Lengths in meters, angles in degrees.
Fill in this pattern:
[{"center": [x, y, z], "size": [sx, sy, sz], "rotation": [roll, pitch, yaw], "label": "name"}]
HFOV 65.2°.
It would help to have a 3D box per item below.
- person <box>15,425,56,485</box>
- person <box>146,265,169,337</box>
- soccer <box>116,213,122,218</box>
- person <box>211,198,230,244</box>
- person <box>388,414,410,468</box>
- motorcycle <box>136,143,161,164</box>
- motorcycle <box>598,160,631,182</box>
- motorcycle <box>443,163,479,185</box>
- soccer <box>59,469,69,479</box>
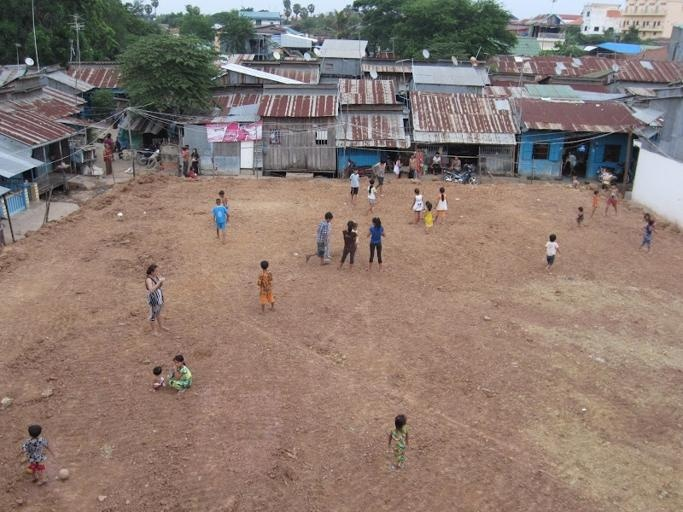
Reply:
[{"center": [-5.841, 3.639, 10.208], "size": [0.506, 1.064, 0.945], "rotation": [-12, 23, -34], "label": "person"}, {"center": [-4.790, 1.255, 13.880], "size": [0.625, 1.977, 0.707], "rotation": [4, 36, -5], "label": "person"}, {"center": [-8.942, -1.633, 21.599], "size": [0.206, 0.071, 0.203], "rotation": [4, 13, -10], "label": "soccer"}, {"center": [-4.387, -1.424, 19.427], "size": [0.450, 1.502, 1.497], "rotation": [-3, 20, -13], "label": "person"}, {"center": [1.160, 3.536, 10.723], "size": [0.437, 1.077, 0.784], "rotation": [4, 19, 6], "label": "person"}, {"center": [-11.628, -6.127, 32.479], "size": [1.944, 1.242, 1.139], "rotation": [5, 10, 27], "label": "motorcycle"}, {"center": [15.946, -4.990, 31.138], "size": [1.582, 0.775, 2.150], "rotation": [6, 29, 15], "label": "motorcycle"}, {"center": [6.753, -4.554, 30.263], "size": [2.142, 1.381, 1.052], "rotation": [5, 32, 5], "label": "motorcycle"}, {"center": [-5.254, 4.133, 10.133], "size": [0.174, 0.146, 0.170], "rotation": [-5, 20, -20], "label": "soccer"}]
